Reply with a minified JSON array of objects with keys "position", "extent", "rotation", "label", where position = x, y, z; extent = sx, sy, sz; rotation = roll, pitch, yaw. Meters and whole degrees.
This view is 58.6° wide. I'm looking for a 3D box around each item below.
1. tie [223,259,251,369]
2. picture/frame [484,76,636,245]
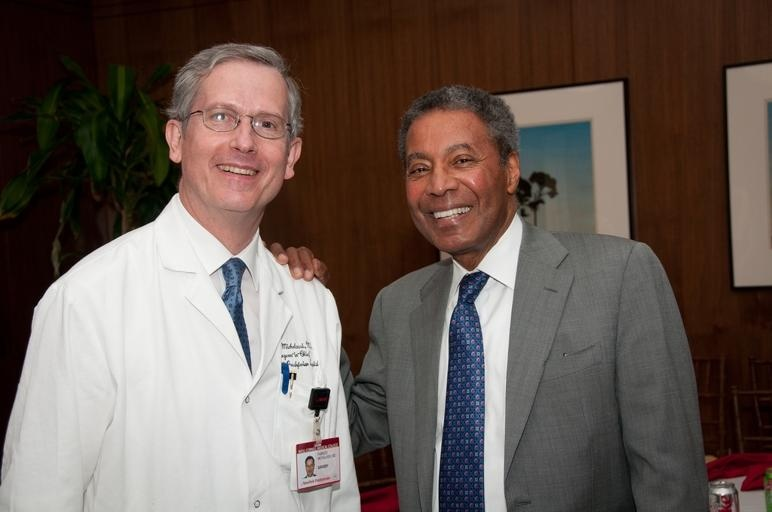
[{"position":[-0.674,0.212,3.052],"extent":[0.106,0.554,0.084],"rotation":[-6,-18,-15],"label":"tie"},{"position":[1.220,-0.631,4.569],"extent":[1.059,1.434,0.059],"rotation":[-2,1,19],"label":"picture/frame"}]
